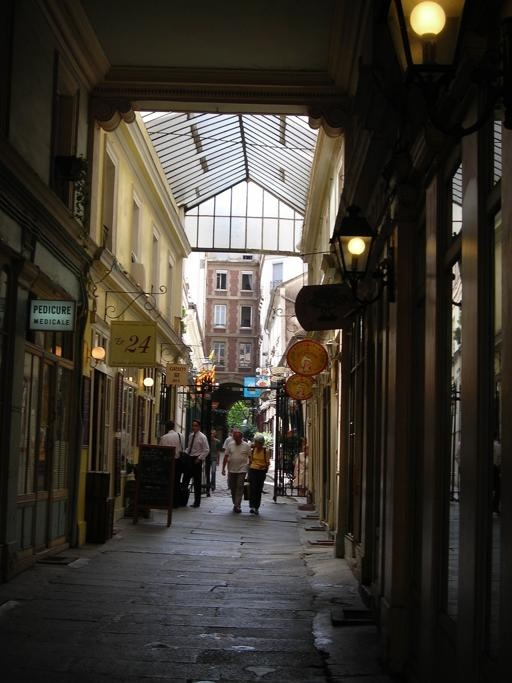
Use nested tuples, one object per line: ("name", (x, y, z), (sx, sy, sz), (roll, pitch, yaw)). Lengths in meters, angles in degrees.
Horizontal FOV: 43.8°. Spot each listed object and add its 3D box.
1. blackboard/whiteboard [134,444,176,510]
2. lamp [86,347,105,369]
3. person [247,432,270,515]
("blackboard/whiteboard", (-2.094, 2.820, 13.136), (0.786, 1.293, 0.551), (3, -9, -3))
("lamp", (-2.921, 0.298, 11.667), (0.231, 0.422, 0.405), (6, -9, -31))
("person", (0.038, 3.522, 16.821), (0.512, 2.055, 1.237), (3, -9, 0))
